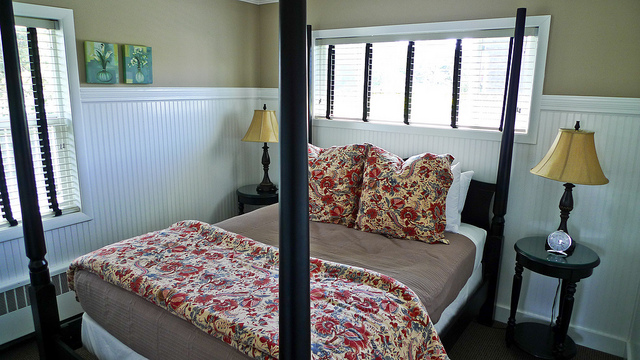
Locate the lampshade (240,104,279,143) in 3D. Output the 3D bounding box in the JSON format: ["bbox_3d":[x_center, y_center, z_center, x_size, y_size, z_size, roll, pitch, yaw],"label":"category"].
[{"bbox_3d":[-0.739,-0.683,5.204,0.564,0.439,0.529,-1,14,-19],"label":"lampshade"}]

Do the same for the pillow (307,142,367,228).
[{"bbox_3d":[0.189,0.092,4.259,0.779,0.678,0.298,-17,-18,29],"label":"pillow"}]

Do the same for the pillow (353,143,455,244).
[{"bbox_3d":[0.851,0.124,4.262,1.076,0.871,0.553,7,11,31],"label":"pillow"}]

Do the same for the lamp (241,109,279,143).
[{"bbox_3d":[-0.711,-0.681,5.205,0.557,0.429,0.530,-10,16,-20],"label":"lamp"}]

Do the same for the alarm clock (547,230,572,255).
[{"bbox_3d":[2.268,0.573,3.844,0.204,0.254,0.222,7,-5,-31],"label":"alarm clock"}]

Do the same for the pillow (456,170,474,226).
[{"bbox_3d":[1.478,0.155,4.262,0.136,0.432,0.476,7,-16,21],"label":"pillow"}]

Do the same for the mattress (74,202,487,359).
[{"bbox_3d":[-0.152,0.863,3.927,2.466,0.538,1.851,5,11,32],"label":"mattress"}]
